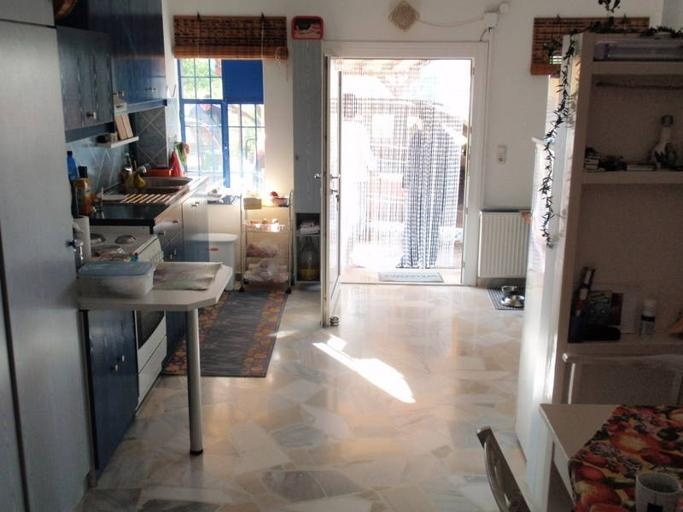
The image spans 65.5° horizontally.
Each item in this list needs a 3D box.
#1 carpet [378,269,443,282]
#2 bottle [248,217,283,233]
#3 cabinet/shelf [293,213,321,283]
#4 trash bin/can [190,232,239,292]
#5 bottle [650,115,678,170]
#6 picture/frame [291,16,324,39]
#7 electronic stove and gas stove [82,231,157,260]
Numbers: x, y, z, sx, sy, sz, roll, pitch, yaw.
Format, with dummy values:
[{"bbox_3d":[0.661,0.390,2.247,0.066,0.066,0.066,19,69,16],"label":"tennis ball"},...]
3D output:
[{"bbox_3d":[0.814,0.226,6.359,0.751,0.072,0.480,1,10,2],"label":"carpet"},{"bbox_3d":[-0.871,-0.337,6.003,0.440,0.161,0.290,0,10,-6],"label":"bottle"},{"bbox_3d":[-0.391,-0.079,6.030,0.349,0.840,0.337,3,-19,-16],"label":"cabinet/shelf"},{"bbox_3d":[-1.427,0.076,5.945,0.490,0.560,0.387,2,7,-2],"label":"trash bin/can"},{"bbox_3d":[1.559,-0.543,2.551,0.118,0.245,0.071,6,11,26],"label":"bottle"},{"bbox_3d":[-0.359,-2.358,5.495,0.336,0.258,0.220,0,10,-4],"label":"picture/frame"},{"bbox_3d":[-1.474,-0.070,3.556,0.238,0.102,0.272,3,14,3],"label":"electronic stove and gas stove"}]
